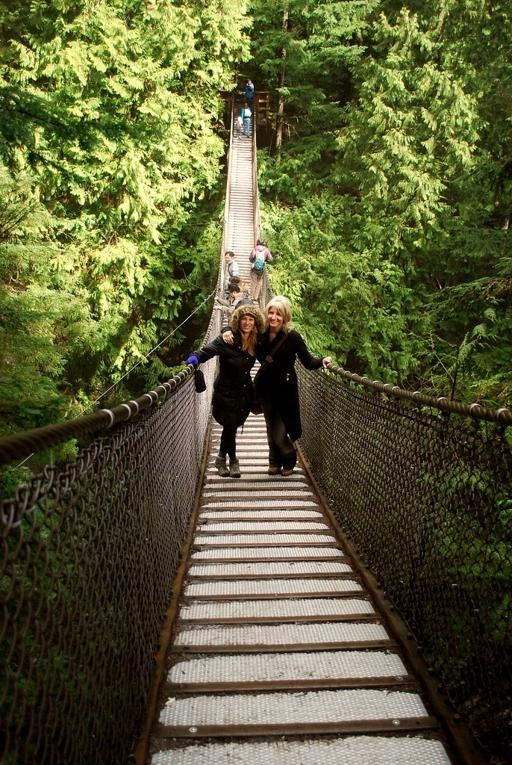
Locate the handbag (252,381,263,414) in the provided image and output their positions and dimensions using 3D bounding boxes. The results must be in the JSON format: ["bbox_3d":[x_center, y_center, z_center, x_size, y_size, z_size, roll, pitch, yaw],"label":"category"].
[{"bbox_3d":[0.004,0.164,4.621,0.139,0.191,0.193,0,-6,1],"label":"handbag"}]

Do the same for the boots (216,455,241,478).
[{"bbox_3d":[-0.242,0.742,4.750,0.100,0.134,0.313,2,-4,-13],"label":"boots"}]

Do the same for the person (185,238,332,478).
[{"bbox_3d":[0.024,0.096,4.435,0.846,1.513,0.890,0,4,-5],"label":"person"}]
